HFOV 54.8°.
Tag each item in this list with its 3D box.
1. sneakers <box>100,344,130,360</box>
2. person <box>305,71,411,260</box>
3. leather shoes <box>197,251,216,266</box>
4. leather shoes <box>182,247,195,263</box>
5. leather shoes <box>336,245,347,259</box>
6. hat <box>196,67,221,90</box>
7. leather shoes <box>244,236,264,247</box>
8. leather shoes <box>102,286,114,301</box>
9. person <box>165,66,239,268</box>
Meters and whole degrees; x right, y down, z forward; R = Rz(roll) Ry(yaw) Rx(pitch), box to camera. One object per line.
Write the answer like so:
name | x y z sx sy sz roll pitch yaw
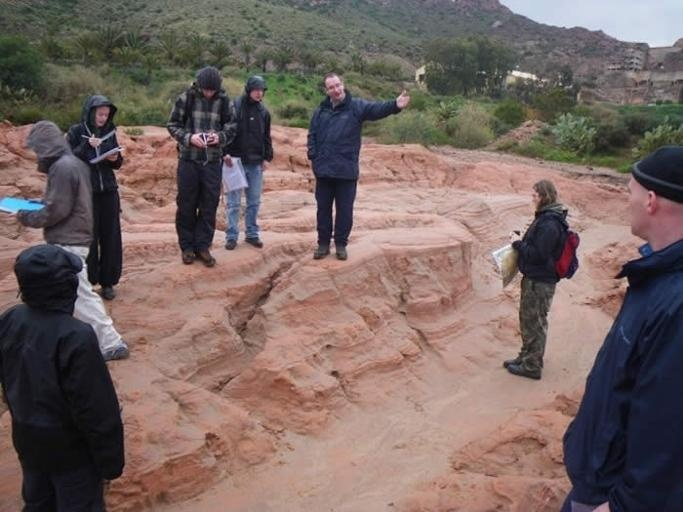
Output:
sneakers | -2.231 0.964 6.532 0.257 0.164 0.088 -20 4 -34
person | 0.061 -1.040 7.961 1.070 2.203 0.629 9 18 15
leather shoes | -1.544 0.039 7.564 0.106 0.125 0.289 -36 8 -20
leather shoes | -1.758 -0.013 7.577 0.163 0.179 0.400 -2 2 -13
leather shoes | 0.006 -0.044 8.019 0.129 0.121 0.278 0 7 -1
hat | -1.472 -1.975 7.327 0.281 0.258 0.238 0 18 -15
leather shoes | -1.088 -0.189 8.226 0.227 0.098 0.093 11 25 30
leather shoes | -2.569 0.408 7.242 0.169 0.166 0.090 9 10 24
person | -1.615 -1.029 7.538 0.682 2.209 0.638 7 17 7
